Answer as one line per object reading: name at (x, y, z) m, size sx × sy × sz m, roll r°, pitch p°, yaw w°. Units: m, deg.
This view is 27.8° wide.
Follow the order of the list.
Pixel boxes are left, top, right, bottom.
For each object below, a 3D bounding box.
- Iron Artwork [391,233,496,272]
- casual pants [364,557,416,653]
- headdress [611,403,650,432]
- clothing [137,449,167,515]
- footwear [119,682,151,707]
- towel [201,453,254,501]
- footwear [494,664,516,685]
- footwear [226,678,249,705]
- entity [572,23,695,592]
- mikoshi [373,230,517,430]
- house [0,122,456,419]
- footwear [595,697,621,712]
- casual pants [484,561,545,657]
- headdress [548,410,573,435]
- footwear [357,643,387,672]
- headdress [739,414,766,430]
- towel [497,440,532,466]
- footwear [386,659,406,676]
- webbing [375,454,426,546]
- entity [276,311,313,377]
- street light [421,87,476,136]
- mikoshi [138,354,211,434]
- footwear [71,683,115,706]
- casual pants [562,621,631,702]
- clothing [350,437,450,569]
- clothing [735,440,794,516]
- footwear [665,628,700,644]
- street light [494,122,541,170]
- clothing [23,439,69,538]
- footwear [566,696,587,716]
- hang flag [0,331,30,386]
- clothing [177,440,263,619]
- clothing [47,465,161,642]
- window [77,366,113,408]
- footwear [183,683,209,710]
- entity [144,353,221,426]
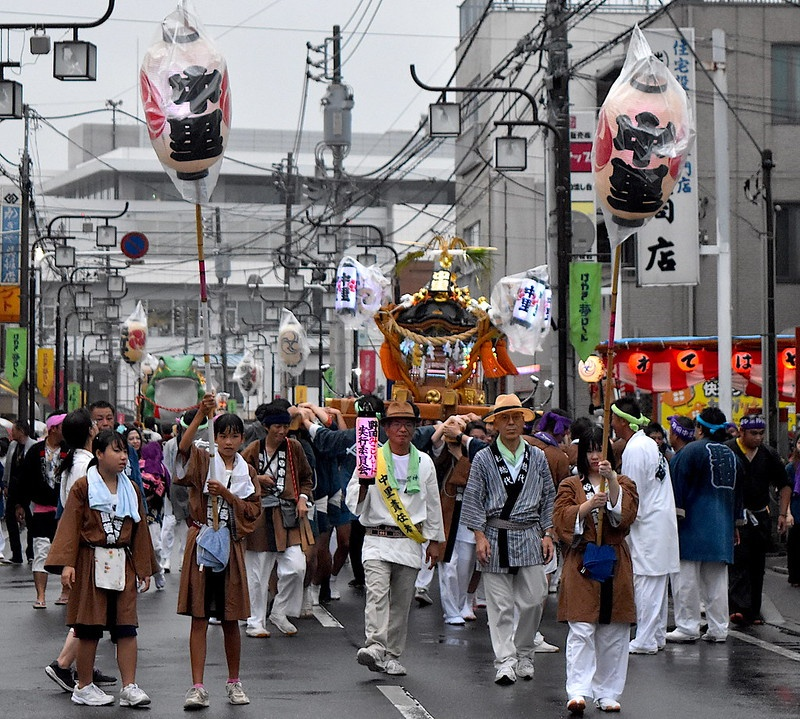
Iron Artwork at (0.660, -1.547, 23.194) m, size 0.974 × 0.490 × 1.063 m, roll -1°, pitch 1°, yaw 8°
casual pants at (-0.135, 2.224, 14.320) m, size 0.368 × 0.900 × 0.642 m, roll -2°, pitch -2°, yaw 30°
headdress at (2.229, 0.552, 15.896) m, size 0.279 × 0.094 × 0.289 m, roll 31°, pitch 20°, yaw 19°
clothing at (-3.117, 1.614, 20.689) m, size 0.421 × 1.080 × 0.295 m, roll -1°, pitch 12°, yaw -18°
footwear at (-2.168, 2.756, 13.271) m, size 0.253 × 0.181 × 0.277 m, roll -1°, pitch -2°, yaw -11°
towel at (-1.478, 0.987, 13.809) m, size 0.439 × 0.476 × 0.254 m, roll 17°, pitch -24°, yaw -21°
footwear at (0.910, 2.756, 14.158) m, size 0.205 × 0.173 × 0.202 m, roll -1°, pitch -2°, yaw -6°
footwear at (-1.337, 2.746, 13.345) m, size 0.182 × 0.180 × 0.306 m, roll -1°, pitch -2°, yaw -8°
entity at (1.932, -1.085, 14.134) m, size 0.676 × 3.143 × 0.732 m, roll 3°, pitch 16°, yaw -5°
mikoshi at (0.555, -0.435, 21.985) m, size 1.871 × 2.672 × 1.708 m, roll 4°, pitch -9°, yaw -11°
house at (-5.526, -2.497, 50.471) m, size 12.420 × 13.516 × 7.255 m, roll -1°, pitch -4°, yaw -6°
footwear at (1.694, 2.875, 13.435) m, size 0.236 × 0.097 × 0.170 m, roll -2°, pitch -2°, yaw 26°
casual pants at (1.034, 2.317, 14.448) m, size 0.523 × 0.389 × 1.258 m, roll -9°, pitch 29°, yaw 11°
headdress at (1.947, 0.762, 19.706) m, size 0.249 × 0.378 × 0.270 m, roll 3°, pitch 1°, yaw -9°
footwear at (-0.256, 2.607, 14.053) m, size 0.125 × 0.193 × 0.374 m, roll 13°, pitch -30°, yaw 22°
headdress at (3.856, 0.695, 17.897) m, size 0.183 × 0.125 × 0.191 m, roll 2°, pitch -5°, yaw -23°
towel at (0.989, 0.836, 14.513) m, size 0.187 × 0.201 × 0.243 m, roll 1°, pitch 5°, yaw -7°
footwear at (-0.050, 2.724, 14.273) m, size 0.167 × 0.133 × 0.120 m, roll 0°, pitch -5°, yaw 20°
webbing at (-0.053, 1.203, 14.527) m, size 0.384 × 0.809 × 0.174 m, roll -2°, pitch -15°, yaw -20°
entity at (-2.053, -0.334, 29.862) m, size 0.499 × 1.343 × 0.513 m, roll 18°, pitch -33°, yaw -38°
street light at (0.652, -3.644, 23.831) m, size 0.559 × 0.834 × 0.501 m, roll -2°, pitch -10°, yaw 11°
mikoshi at (-5.018, 0.601, 35.899) m, size 1.538 × 1.631 × 2.266 m, roll -1°, pitch 7°, yaw -13°
footwear at (-2.524, 2.775, 13.356) m, size 0.324 × 0.178 × 0.161 m, roll 1°, pitch -2°, yaw 7°
casual pants at (1.605, 2.537, 13.511) m, size 0.670 × 0.707 × 0.283 m, roll 0°, pitch -2°, yaw -34°
clothing at (-0.016, 1.302, 14.571) m, size 0.840 × 1.248 × 0.551 m, roll 10°, pitch -29°, yaw -10°
clothing at (3.934, 1.332, 18.334) m, size 0.943 × 0.897 × 0.469 m, roll -1°, pitch 7°, yaw 17°
footwear at (2.836, 2.807, 16.412) m, size 0.348 × 0.176 × 0.135 m, roll 5°, pitch -1°, yaw 4°
street light at (1.616, -3.134, 23.807) m, size 0.778 × 0.881 × 0.519 m, roll -2°, pitch -17°, yaw 8°
clothing at (-4.057, 1.714, 18.828) m, size 0.596 × 1.619 × 0.358 m, roll 2°, pitch -19°, yaw -15°
footwear at (1.426, 2.850, 13.272) m, size 0.148 × 0.139 × 0.220 m, roll -2°, pitch -2°, yaw 5°
hang flag at (-8.000, -0.062, 33.857) m, size 0.432 × 1.288 × 0.965 m, roll -1°, pitch -2°, yaw -14°
clothing at (-1.543, 1.410, 13.525) m, size 0.568 × 1.499 × 0.397 m, roll 3°, pitch 3°, yaw -10°
clothing at (-2.439, 1.656, 13.496) m, size 0.896 × 1.468 × 0.406 m, roll 5°, pitch -27°, yaw -21°
window at (-12.081, 1.008, 64.199) m, size 0.790 × 0.936 × 1.625 m, roll -3°, pitch 26°, yaw -5°
footwear at (-1.648, 2.747, 13.176) m, size 0.259 × 0.188 × 0.229 m, roll -1°, pitch -2°, yaw -28°
entity at (-4.989, 0.562, 35.854) m, size 1.541 × 1.632 × 2.204 m, roll 0°, pitch 8°, yaw -13°
